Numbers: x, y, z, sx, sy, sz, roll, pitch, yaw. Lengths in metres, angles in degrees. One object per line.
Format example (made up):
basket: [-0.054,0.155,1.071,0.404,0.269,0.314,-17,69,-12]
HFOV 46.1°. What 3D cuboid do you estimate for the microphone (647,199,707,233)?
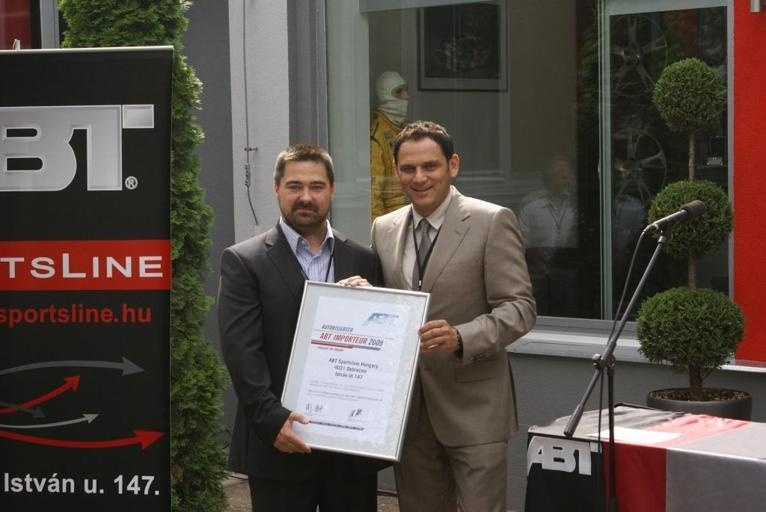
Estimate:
microphone: [1.609,-0.216,4.865,0.394,0.108,0.086,-22,-7,-38]

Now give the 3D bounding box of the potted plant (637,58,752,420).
potted plant: [1.828,-0.132,5.302,0.624,2.107,0.703,0,5,21]

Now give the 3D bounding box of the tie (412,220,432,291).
tie: [0.219,-0.004,4.648,0.097,0.363,0.066,-3,-26,24]
